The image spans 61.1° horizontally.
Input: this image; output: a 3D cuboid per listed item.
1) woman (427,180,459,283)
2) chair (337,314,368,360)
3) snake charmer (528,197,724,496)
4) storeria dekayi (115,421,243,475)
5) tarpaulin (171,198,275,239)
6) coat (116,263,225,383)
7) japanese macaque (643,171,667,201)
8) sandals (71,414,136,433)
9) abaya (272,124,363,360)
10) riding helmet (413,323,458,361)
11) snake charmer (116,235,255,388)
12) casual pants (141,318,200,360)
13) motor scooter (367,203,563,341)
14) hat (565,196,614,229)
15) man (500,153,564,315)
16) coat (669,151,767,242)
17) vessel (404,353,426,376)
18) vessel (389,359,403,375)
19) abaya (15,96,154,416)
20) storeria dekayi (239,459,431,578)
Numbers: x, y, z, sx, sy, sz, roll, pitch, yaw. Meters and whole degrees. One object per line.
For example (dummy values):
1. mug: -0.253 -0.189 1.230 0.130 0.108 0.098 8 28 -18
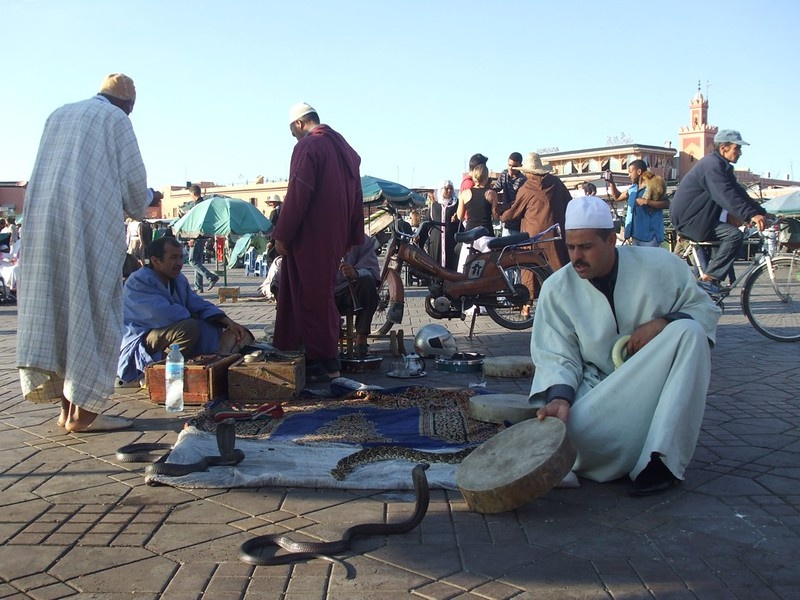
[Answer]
1. woman: 0.774 -1.180 11.839 0.658 1.684 0.468 2 26 7
2. chair: -0.496 0.386 7.178 0.406 0.424 0.410 -1 4 3
3. snake charmer: 1.319 0.171 4.015 1.240 1.551 1.293 -7 2 -7
4. storeria dekayi: -1.315 0.822 4.125 0.389 0.213 0.558 0 -3 -37
5. tarpaulin: -4.234 -2.171 16.830 2.121 0.660 2.108 11 20 20
6. coat: -2.093 0.211 6.214 0.889 0.941 0.967 -1 0 42
7. japanese macaque: 3.862 -1.712 10.269 0.296 0.431 0.475 2 9 18
8. sandals: -2.106 0.860 4.850 0.361 0.100 0.129 -4 5 -33
9. abaya: -0.732 -0.501 6.467 1.030 2.191 0.588 -9 20 -44
10. riding helmet: 0.385 0.453 7.283 0.438 0.289 0.319 2 11 7
11. snake charmer: -1.989 0.111 6.235 1.185 1.200 1.043 -4 9 -38
12. casual pants: -1.981 0.340 5.962 0.411 0.384 0.140 6 41 -29
13. motor scooter: 0.648 -0.450 9.110 3.089 1.861 1.778 -4 5 22
14. hat: 1.070 -0.485 3.860 0.219 0.129 0.220 4 18 16
15. man: 2.227 -1.292 11.021 1.074 2.303 0.992 -14 40 -6
16. coat: 3.920 -1.250 8.277 1.157 1.077 0.852 6 17 26
17. vessel: 0.151 0.633 6.583 0.183 0.173 0.264 0 8 0
18. vessel: -0.013 0.676 6.594 0.145 0.132 0.089 1 3 -17
19. abaya: -2.254 -0.342 4.778 0.712 2.230 0.759 -1 9 1
20. storeria dekayi: -0.288 0.973 3.120 0.875 0.369 0.270 -2 9 -13
